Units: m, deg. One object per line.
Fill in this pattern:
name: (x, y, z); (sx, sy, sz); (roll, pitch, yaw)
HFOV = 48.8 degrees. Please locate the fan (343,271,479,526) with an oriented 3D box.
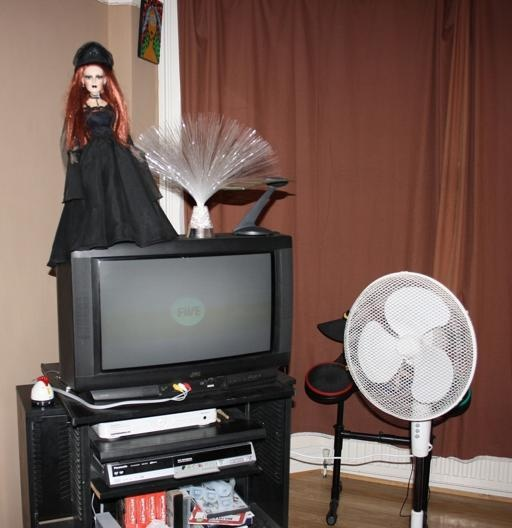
fan: (0.471, 0.265, 1.774); (0.388, 0.460, 0.174); (-1, -6, 12)

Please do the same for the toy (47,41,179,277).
toy: (-0.515, -0.400, 2.087); (0.439, 0.828, 0.214); (4, -7, -25)
